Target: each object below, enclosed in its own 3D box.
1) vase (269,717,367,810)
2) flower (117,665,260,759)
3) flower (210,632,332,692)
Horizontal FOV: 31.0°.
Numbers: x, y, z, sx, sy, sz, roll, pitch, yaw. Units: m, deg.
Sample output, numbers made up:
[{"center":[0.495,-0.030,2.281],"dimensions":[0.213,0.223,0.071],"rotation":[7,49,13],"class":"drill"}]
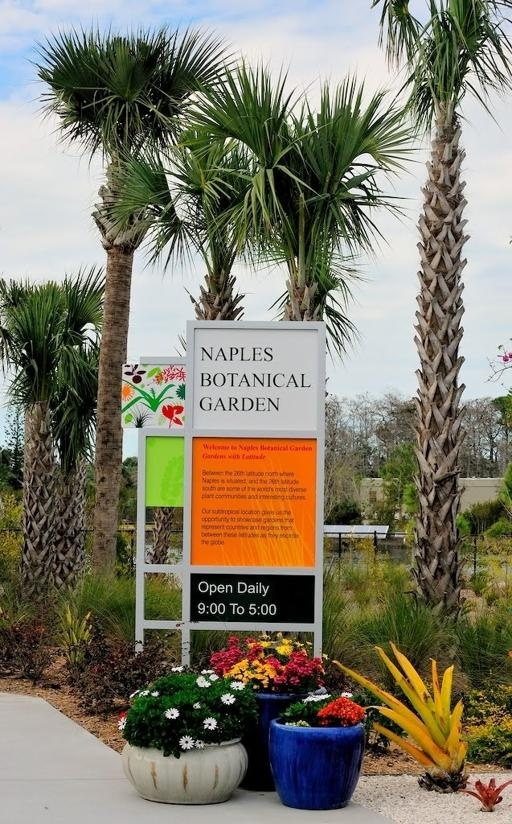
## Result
[{"center":[0.336,1.829,4.833],"dimensions":[0.388,0.388,0.431],"rotation":[2,-17,-5],"class":"vase"},{"center":[-0.350,1.693,5.197],"dimensions":[0.688,0.492,0.864],"rotation":[1,2,-3],"class":"flower"},{"center":[0.053,1.568,5.810],"dimensions":[0.598,0.361,0.649],"rotation":[1,3,-16],"class":"flower"}]
